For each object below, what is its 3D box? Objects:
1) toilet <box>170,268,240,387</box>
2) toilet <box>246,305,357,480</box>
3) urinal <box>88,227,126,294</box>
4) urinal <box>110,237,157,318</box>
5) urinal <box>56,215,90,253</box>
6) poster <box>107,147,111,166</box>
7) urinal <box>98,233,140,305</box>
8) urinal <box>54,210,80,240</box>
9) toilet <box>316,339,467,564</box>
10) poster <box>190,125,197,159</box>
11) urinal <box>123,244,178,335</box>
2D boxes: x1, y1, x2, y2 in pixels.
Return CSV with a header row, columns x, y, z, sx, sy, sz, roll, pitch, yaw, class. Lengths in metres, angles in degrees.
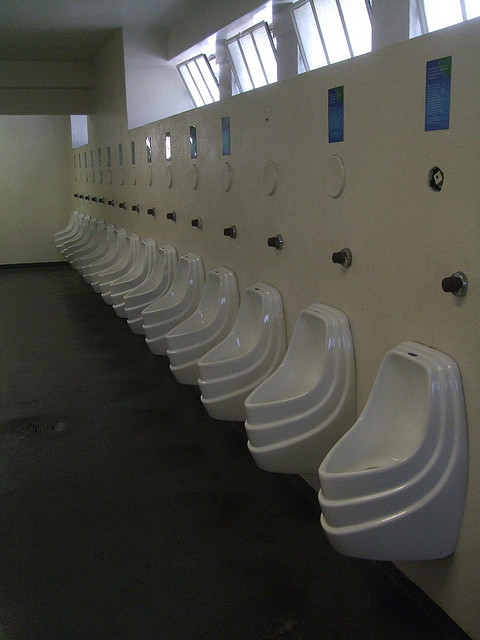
x,y,z,sx,sy,sz,roll,pitch,yaw,class
-0.283,0.035,3.204,0.434,0.748,0.316,-18,33,-40,toilet
0.223,0.301,1.938,0.402,0.702,0.352,-9,17,-25,toilet
-1.933,-0.900,6.757,0.484,1.239,0.584,-4,13,-21,urinal
-1.247,-0.473,5.275,0.428,0.928,0.337,0,14,-30,urinal
-3.282,-1.629,9.188,0.290,0.959,0.598,11,2,-31,urinal
-2.069,-2.569,7.293,0.030,0.305,0.168,-3,8,-18,poster
-1.550,-0.687,5.937,0.433,1.113,0.507,-5,13,-21,urinal
-3.771,-2.081,10.240,0.261,0.846,0.520,10,7,-38,urinal
0.410,0.378,1.350,0.356,0.606,0.374,-1,13,3,toilet
-0.375,-1.430,3.750,0.017,0.258,0.150,-3,8,-17,poster
-0.885,-0.346,4.625,0.396,0.993,0.556,-3,12,-15,urinal
